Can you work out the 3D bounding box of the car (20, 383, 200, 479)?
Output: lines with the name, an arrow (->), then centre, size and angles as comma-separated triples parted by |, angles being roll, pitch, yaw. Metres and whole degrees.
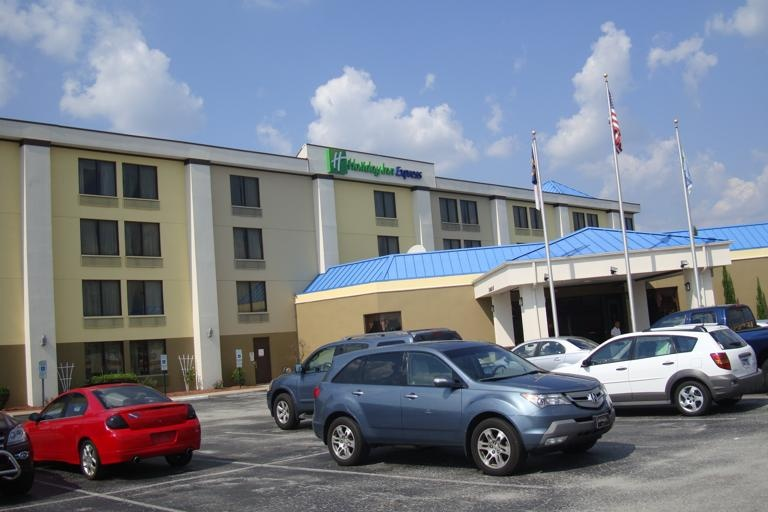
car -> -6.414, 4.094, 14.687 | 3.844, 2.270, 1.561 | -4, 1, 23
